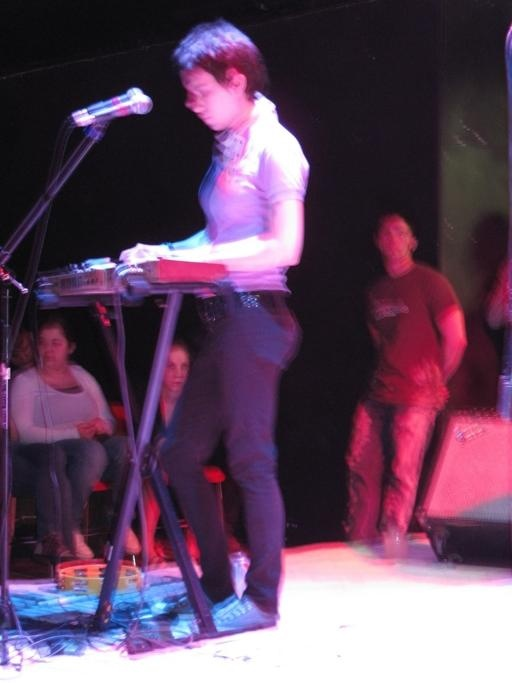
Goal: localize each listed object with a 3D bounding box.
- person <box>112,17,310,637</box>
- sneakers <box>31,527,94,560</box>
[{"bbox_3d":[-0.068,-0.052,1.666,0.380,1.467,0.394,-1,-4,4],"label":"person"},{"bbox_3d":[-0.736,0.760,2.747,0.219,0.091,0.116,-6,-18,31],"label":"sneakers"}]
